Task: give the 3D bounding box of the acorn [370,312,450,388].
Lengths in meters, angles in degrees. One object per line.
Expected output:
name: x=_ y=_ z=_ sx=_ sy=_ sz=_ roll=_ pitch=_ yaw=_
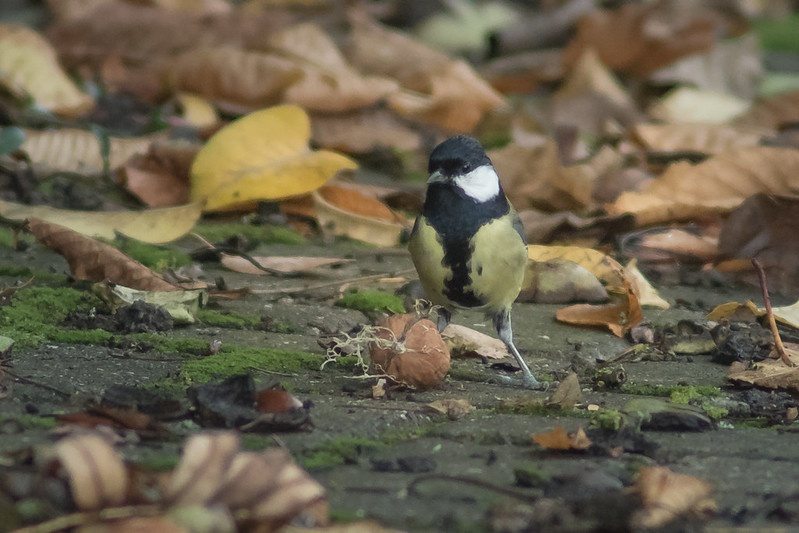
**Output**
acorn: x=0.032 y=0.232 z=2.769 sx=0.179 sy=0.171 sz=0.183 roll=-6 pitch=24 yaw=-32
